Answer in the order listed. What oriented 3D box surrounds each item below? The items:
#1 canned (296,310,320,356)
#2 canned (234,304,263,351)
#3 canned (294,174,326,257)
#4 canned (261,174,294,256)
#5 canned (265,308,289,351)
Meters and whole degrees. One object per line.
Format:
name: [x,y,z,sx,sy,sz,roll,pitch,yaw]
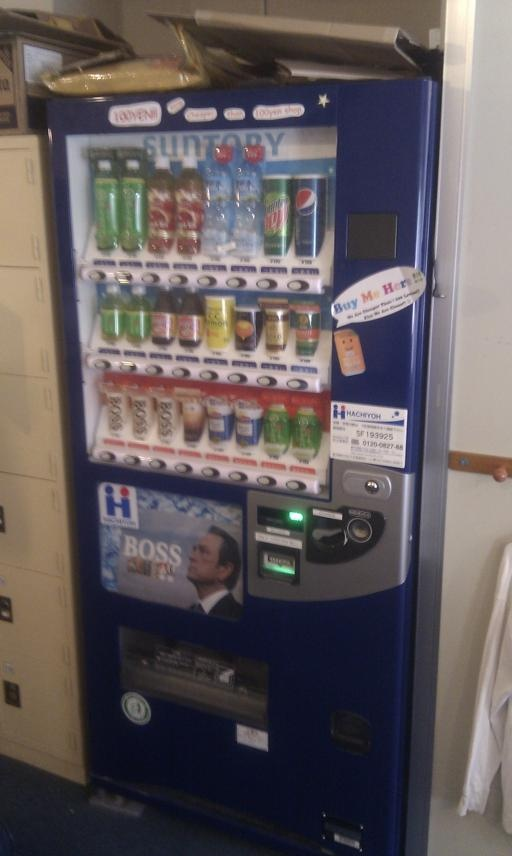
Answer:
canned: [0.120,-0.221,1.633,0.055,0.115,0.046,-1,19,3]
canned: [-0.023,-0.243,1.715,0.072,0.102,0.073,2,20,9]
canned: [0.121,-0.471,1.582,0.072,0.169,0.083,0,20,6]
canned: [0.051,-0.479,1.609,0.067,0.169,0.079,-1,20,2]
canned: [0.046,-0.238,1.693,0.066,0.099,0.076,3,21,12]
